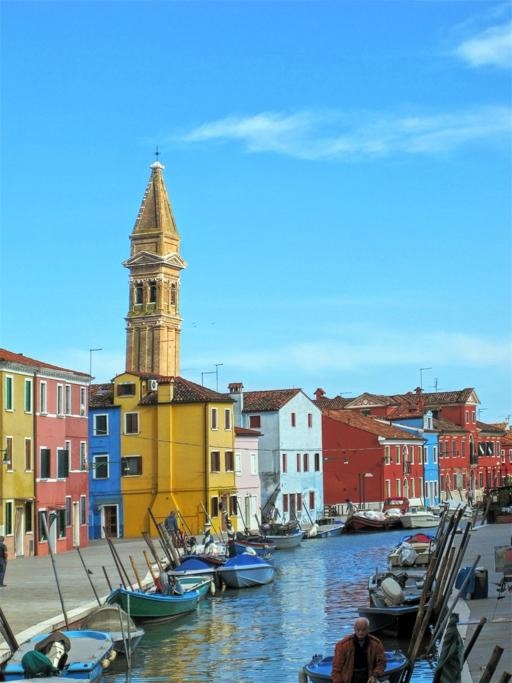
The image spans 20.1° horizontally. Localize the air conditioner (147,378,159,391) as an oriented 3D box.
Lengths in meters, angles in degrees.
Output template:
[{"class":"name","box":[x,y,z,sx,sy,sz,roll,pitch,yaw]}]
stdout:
[{"class":"air conditioner","box":[-5.676,2.592,77.805,0.503,0.906,0.998,-3,-8,12]}]
